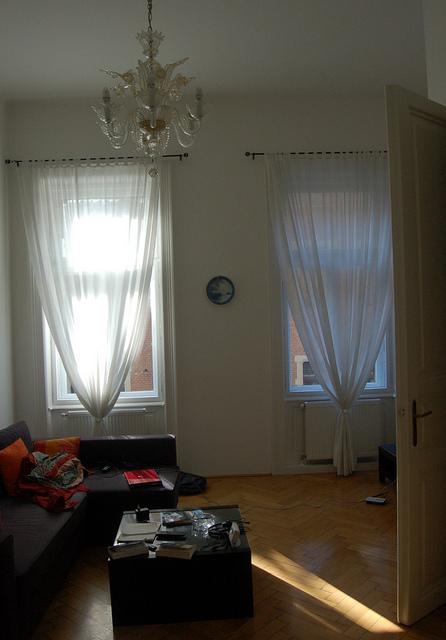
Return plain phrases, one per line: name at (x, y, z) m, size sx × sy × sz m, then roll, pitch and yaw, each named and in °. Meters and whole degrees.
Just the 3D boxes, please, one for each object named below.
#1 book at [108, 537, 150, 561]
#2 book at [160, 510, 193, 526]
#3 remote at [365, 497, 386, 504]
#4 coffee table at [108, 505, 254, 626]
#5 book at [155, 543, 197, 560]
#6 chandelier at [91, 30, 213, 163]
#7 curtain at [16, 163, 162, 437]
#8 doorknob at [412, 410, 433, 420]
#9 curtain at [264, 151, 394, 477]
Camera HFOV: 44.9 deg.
book at (-0.449, 1.096, 2.607) m, size 0.197 × 0.071 × 0.137 m, roll -4°, pitch 2°, yaw -28°
book at (-0.263, 1.085, 3.022) m, size 0.164 × 0.050 × 0.285 m, roll -4°, pitch 2°, yaw -9°
remote at (1.154, 1.349, 4.104) m, size 0.146 × 0.021 × 0.110 m, roll -3°, pitch 2°, yaw 18°
coffee table at (-0.199, 1.202, 2.675) m, size 0.471 × 0.229 × 0.488 m, roll -1°, pitch 12°, yaw -2°
book at (-0.221, 1.087, 2.578) m, size 0.177 × 0.051 × 0.128 m, roll -3°, pitch 2°, yaw 10°
chandelier at (-0.390, -1.204, 2.835) m, size 0.570 × 0.676 × 0.571 m, roll -5°, pitch 3°, yaw -29°
curtain at (-1.120, -0.185, 4.739) m, size 1.202 × 2.025 × 0.280 m, roll -3°, pitch 2°, yaw 9°
doorknob at (0.928, 0.435, 2.507) m, size 0.039 × 0.035 × 0.185 m, roll -2°, pitch 3°, yaw 41°
curtain at (0.983, -0.078, 4.807) m, size 1.081 × 2.870 × 0.226 m, roll -3°, pitch 2°, yaw -7°
